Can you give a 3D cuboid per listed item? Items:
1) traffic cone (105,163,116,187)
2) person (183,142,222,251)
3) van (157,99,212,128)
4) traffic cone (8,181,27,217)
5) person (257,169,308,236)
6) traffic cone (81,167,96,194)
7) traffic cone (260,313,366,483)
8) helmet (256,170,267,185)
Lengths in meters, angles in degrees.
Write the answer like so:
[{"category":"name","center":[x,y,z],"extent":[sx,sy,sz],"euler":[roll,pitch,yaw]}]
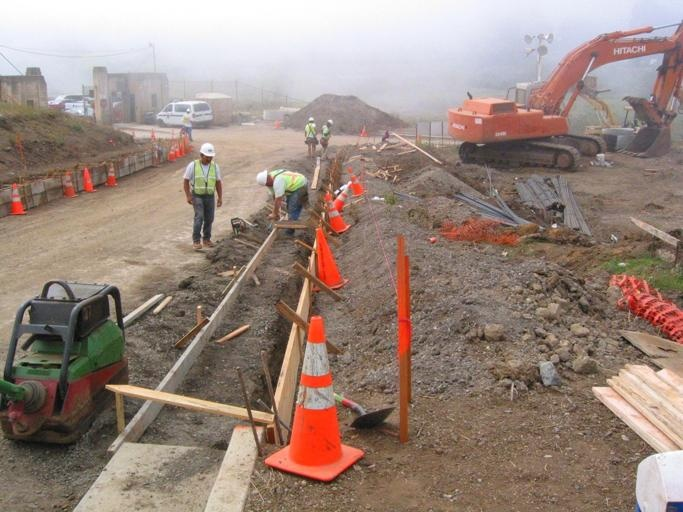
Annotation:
[{"category":"traffic cone","center":[-7.463,-2.639,15.626],"extent":[0.319,0.676,0.795],"euler":[-10,23,-24]},{"category":"person","center":[-2.876,-1.322,10.151],"extent":[0.711,2.143,1.493],"euler":[-6,22,-15]},{"category":"van","center":[-10.646,-9.684,33.189],"extent":[3.315,1.729,2.487],"euler":[-4,21,-12]},{"category":"traffic cone","center":[-8.053,-1.410,11.976],"extent":[0.312,0.690,0.602],"euler":[-14,25,-32]},{"category":"person","center":[-1.255,-1.220,10.164],"extent":[0.634,1.081,1.107],"euler":[13,24,31]},{"category":"traffic cone","center":[-7.697,-2.323,14.696],"extent":[0.312,0.664,0.804],"euler":[-11,23,-25]},{"category":"traffic cone","center":[-0.225,1.220,3.956],"extent":[0.804,1.366,0.621],"euler":[-12,24,-29]},{"category":"helmet","center":[-1.616,-1.609,10.032],"extent":[0.229,0.263,0.377],"euler":[-3,21,-8]}]
